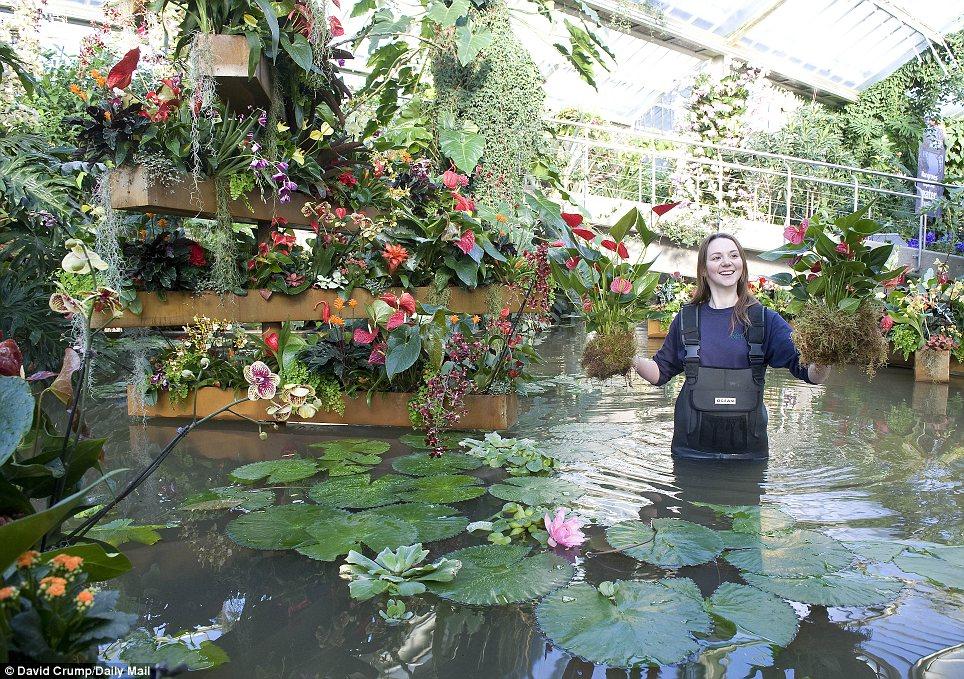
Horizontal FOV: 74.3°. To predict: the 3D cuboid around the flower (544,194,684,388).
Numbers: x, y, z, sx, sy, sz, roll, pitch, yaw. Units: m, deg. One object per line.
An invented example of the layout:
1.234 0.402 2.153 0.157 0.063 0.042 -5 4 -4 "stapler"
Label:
0.710 -0.230 3.876 1.035 1.069 0.944 -1 -6 36 "flower"
